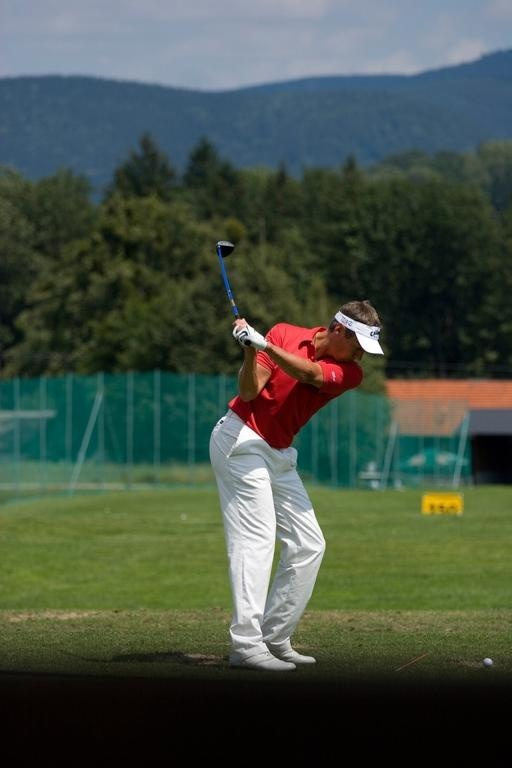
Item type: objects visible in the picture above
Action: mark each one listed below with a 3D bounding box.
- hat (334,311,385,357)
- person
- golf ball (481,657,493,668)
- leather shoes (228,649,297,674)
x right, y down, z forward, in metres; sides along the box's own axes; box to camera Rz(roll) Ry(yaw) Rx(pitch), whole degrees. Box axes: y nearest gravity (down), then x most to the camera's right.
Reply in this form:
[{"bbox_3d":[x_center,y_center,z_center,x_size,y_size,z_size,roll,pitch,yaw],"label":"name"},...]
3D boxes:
[{"bbox_3d":[0.417,-0.201,6.360,0.200,0.080,0.135,41,16,16],"label":"hat"},{"bbox_3d":[0.136,0.422,6.466,0.603,1.513,0.508,0,2,-16],"label":"person"},{"bbox_3d":[0.990,1.185,6.838,0.032,0.034,0.033,-2,1,0],"label":"golf ball"},{"bbox_3d":[0.022,1.095,6.400,0.231,0.078,0.098,2,-6,1],"label":"leather shoes"}]
